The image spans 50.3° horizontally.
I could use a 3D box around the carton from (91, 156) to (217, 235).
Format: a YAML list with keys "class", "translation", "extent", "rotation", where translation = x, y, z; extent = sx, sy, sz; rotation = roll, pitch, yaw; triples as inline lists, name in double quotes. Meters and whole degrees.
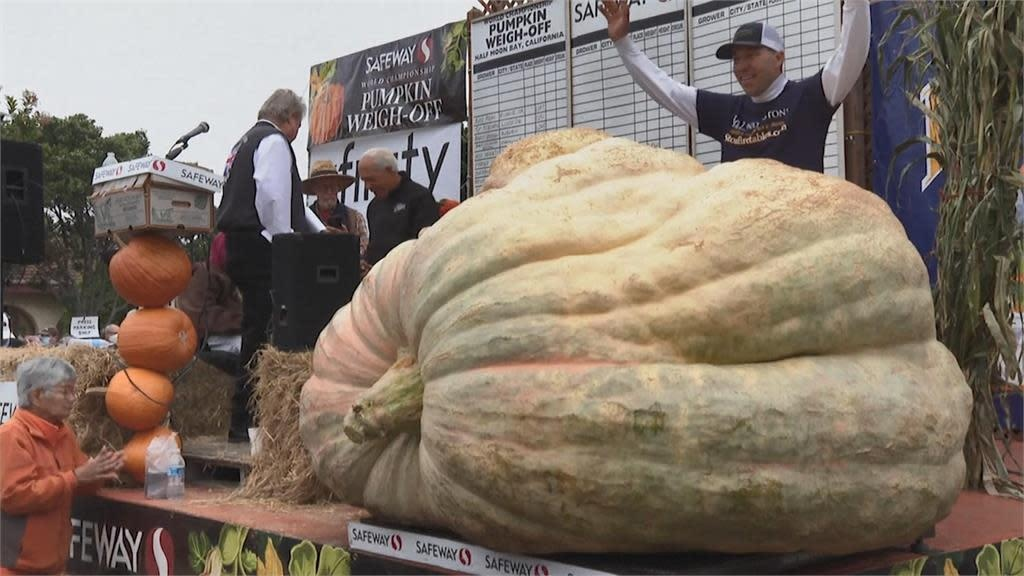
- class: "carton"
  translation: [-2.625, -0.685, 8.093]
  extent: [0.850, 0.570, 0.378]
  rotation: [0, 8, -10]

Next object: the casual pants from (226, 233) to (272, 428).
- class: "casual pants"
  translation: [-2.042, 0.334, 8.466]
  extent: [0.335, 1.552, 0.671]
  rotation: [-1, 8, -14]

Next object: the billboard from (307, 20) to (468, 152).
- class: "billboard"
  translation: [-1.376, -2.204, 11.868]
  extent: [2.396, 1.287, 0.309]
  rotation: [8, 10, 43]

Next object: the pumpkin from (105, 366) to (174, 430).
- class: "pumpkin"
  translation: [-2.729, 0.806, 7.963]
  extent: [0.302, 0.293, 0.355]
  rotation: [36, 17, 10]

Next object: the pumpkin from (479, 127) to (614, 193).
- class: "pumpkin"
  translation: [0.164, -0.810, 6.520]
  extent: [0.579, 0.162, 0.445]
  rotation: [-21, -5, 3]

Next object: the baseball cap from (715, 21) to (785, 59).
- class: "baseball cap"
  translation: [1.698, -1.764, 7.721]
  extent: [0.459, 0.226, 0.325]
  rotation: [6, -1, -4]

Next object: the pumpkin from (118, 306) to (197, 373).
- class: "pumpkin"
  translation: [-2.590, 0.404, 8.073]
  extent: [0.495, 0.508, 0.491]
  rotation: [-2, -8, 35]

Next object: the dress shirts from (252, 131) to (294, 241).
- class: "dress shirts"
  translation: [-1.884, -0.802, 8.572]
  extent: [0.298, 0.826, 0.196]
  rotation: [-1, 8, -16]
